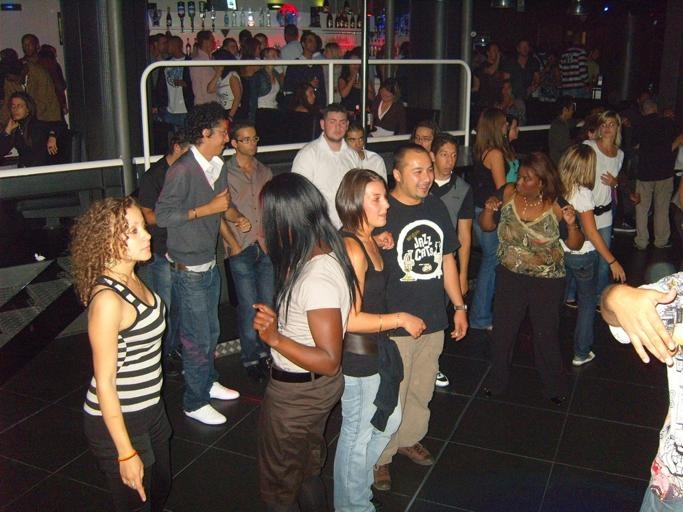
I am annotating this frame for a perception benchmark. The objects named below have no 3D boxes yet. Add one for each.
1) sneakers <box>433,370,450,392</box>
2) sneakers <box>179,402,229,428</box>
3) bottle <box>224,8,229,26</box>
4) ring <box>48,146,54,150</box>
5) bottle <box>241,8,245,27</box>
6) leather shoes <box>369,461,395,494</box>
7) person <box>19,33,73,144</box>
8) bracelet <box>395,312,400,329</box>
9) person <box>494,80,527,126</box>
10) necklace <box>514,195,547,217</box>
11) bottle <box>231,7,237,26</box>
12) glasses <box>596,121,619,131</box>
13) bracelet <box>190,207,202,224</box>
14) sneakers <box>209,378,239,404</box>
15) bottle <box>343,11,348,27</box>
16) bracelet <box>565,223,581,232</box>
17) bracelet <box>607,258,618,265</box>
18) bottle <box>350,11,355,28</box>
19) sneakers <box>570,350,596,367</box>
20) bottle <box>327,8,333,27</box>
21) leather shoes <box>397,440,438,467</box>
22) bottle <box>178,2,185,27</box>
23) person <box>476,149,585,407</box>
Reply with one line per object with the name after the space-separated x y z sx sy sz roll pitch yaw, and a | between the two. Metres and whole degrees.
0.945 1.169 5.119 0.177 0.203 0.502 0 -5 5 | sneakers
-1.154 1.332 4.476 0.323 0.135 0.158 6 9 15 | sneakers
-2.799 -5.747 12.978 0.145 0.363 0.047 -5 17 -11 | bottle
-4.017 -1.481 7.356 0.044 0.061 0.020 -1 8 -10 | ring
-2.409 -5.788 13.042 0.103 0.356 0.237 -3 8 1 | bottle
0.286 1.572 3.786 0.090 0.189 0.273 0 0 -1 | leather shoes
-5.211 -2.792 9.181 0.785 2.106 0.756 -5 51 -26 | person
0.318 0.384 3.081 0.016 0.068 0.057 6 4 -2 | bracelet
3.203 -2.851 10.310 0.637 0.989 0.534 1 -2 30 | person
1.556 -0.398 4.436 0.181 0.185 0.049 -4 11 39 | necklace
-2.628 -5.798 12.996 0.110 0.369 0.138 -1 7 -5 | bottle
2.924 -1.404 5.811 0.125 0.053 0.098 3 -5 -29 | glasses
-1.121 -0.318 4.115 0.063 0.085 0.065 -4 3 22 | bracelet
-1.040 1.217 4.815 0.316 0.120 0.120 3 18 5 | sneakers
0.091 -6.079 13.765 0.083 0.287 0.211 5 14 30 | bottle
1.976 -0.248 4.586 0.091 0.049 0.120 -4 -1 26 | bracelet
2.503 0.063 4.913 0.074 0.024 0.079 -9 8 0 | bracelet
0.319 -6.165 14.086 0.167 0.386 0.468 0 17 4 | bottle
2.438 1.010 5.380 0.282 0.113 0.105 -20 23 -31 | sneakers
-0.311 -6.090 13.810 0.172 0.399 0.342 -1 17 1 | bottle
0.582 1.505 4.078 0.303 0.122 0.126 13 45 21 | leather shoes
-3.684 -5.508 12.239 0.133 0.513 0.252 -8 18 -23 | bottle
1.628 0.185 4.696 0.779 2.133 0.536 5 17 19 | person
